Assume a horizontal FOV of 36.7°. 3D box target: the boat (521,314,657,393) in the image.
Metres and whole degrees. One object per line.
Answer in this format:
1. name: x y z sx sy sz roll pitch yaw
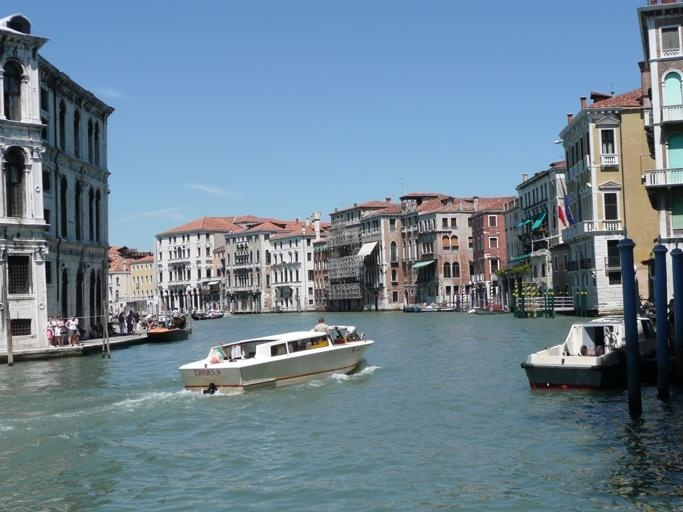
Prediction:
1. boat: 9.487 3.933 40.721 4.290 2.438 2.480 -3 5 -35

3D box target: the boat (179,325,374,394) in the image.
1. boat: -2.247 4.405 44.436 9.201 1.926 2.925 -2 2 -45
